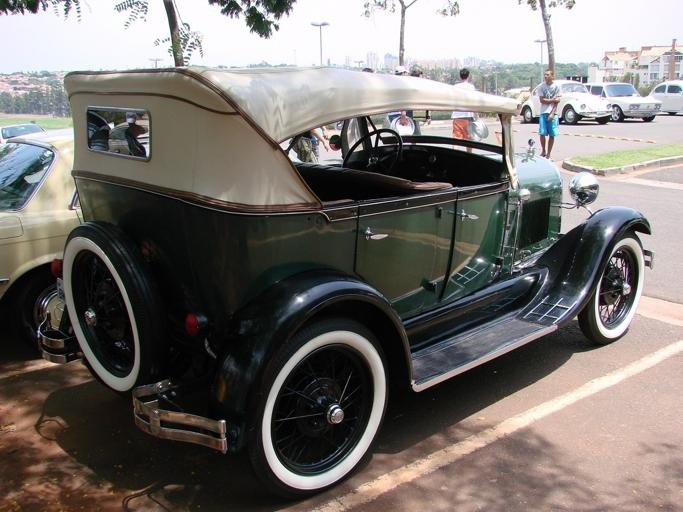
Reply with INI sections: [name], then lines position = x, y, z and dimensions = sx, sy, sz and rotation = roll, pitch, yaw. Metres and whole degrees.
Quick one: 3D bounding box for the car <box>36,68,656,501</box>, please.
[car]
position = 0.693, -0.221, 3.822
dimensions = 4.529, 2.232, 2.352
rotation = -22, 26, -40
